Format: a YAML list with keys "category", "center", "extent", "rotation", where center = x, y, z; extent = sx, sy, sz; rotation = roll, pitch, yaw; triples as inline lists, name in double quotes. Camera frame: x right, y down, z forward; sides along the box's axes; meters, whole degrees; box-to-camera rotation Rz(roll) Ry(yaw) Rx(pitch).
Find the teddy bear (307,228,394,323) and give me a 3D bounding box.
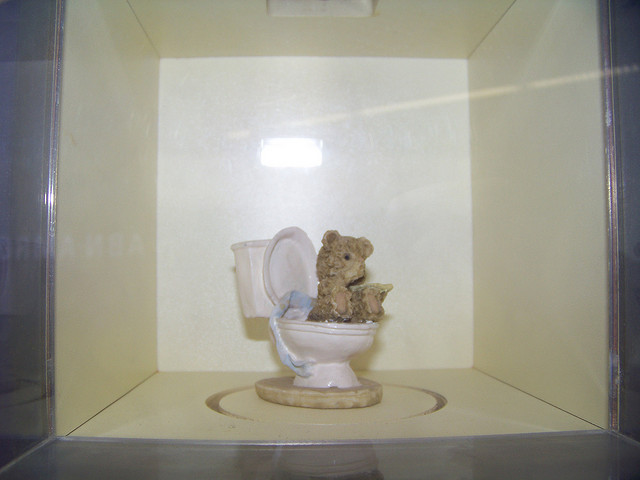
- category: "teddy bear"
  center: [0.097, 0.222, 3.038]
  extent: [0.427, 0.571, 0.470]
  rotation: [9, -15, -44]
